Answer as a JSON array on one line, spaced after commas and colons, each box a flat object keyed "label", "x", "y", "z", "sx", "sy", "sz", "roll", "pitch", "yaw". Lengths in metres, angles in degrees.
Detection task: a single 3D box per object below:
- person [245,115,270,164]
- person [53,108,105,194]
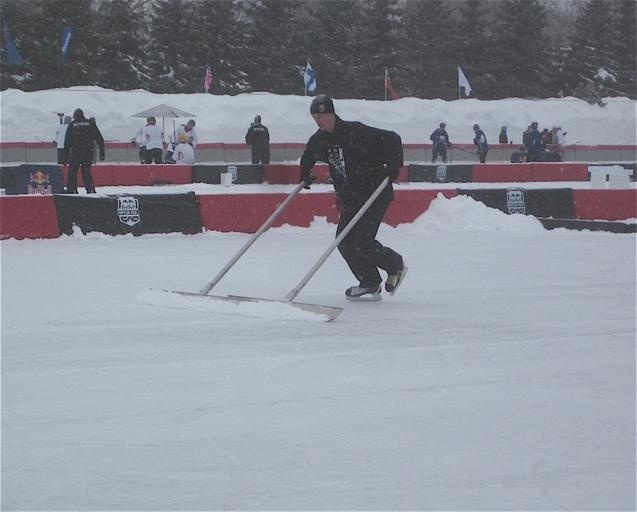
[{"label": "person", "x": -1.768, "y": -3.354, "z": 40.762, "sx": 0.680, "sy": 1.384, "sz": 1.568, "roll": 3, "pitch": 9, "yaw": -3}, {"label": "person", "x": -5.423, "y": -2.408, "z": 32.442, "sx": 0.898, "sy": 1.918, "sz": 1.523, "roll": 2, "pitch": 9, "yaw": -11}]
